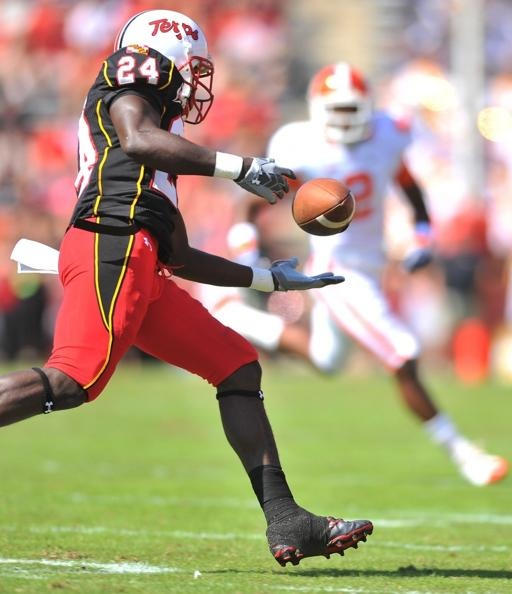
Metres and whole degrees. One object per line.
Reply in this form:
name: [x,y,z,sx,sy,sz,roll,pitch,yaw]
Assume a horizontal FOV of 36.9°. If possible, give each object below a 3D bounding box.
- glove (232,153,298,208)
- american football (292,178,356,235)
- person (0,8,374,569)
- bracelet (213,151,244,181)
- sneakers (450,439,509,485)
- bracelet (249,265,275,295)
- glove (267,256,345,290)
glove: [0.015,-0.293,1.982,0.162,0.110,0.054,27,-39,-17]
american football: [0.217,-0.255,2.281,0.192,0.151,0.166,-26,2,18]
person: [-0.194,-0.043,1.988,0.532,1.460,0.825,-10,-11,40]
bracelet: [-0.060,-0.325,1.889,0.069,0.053,0.082,1,2,29]
sneakers: [0.943,0.706,3.311,0.263,0.137,0.104,33,-15,51]
bracelet: [0.007,-0.061,2.333,0.074,0.055,0.079,-2,-4,19]
glove: [0.147,-0.075,2.276,0.189,0.045,0.111,5,12,-20]
